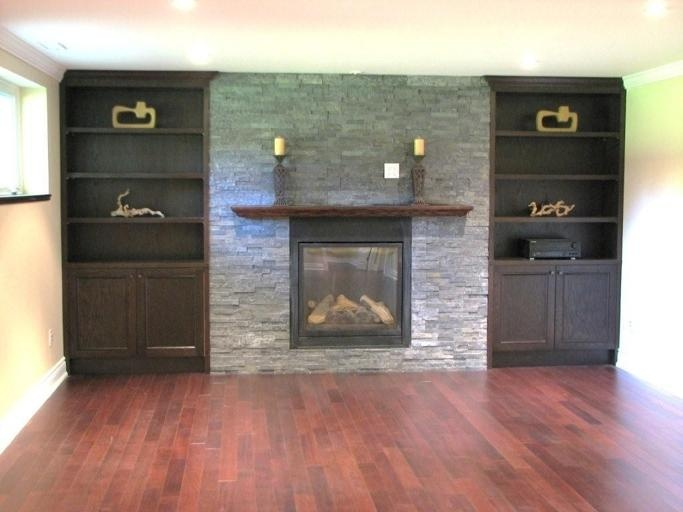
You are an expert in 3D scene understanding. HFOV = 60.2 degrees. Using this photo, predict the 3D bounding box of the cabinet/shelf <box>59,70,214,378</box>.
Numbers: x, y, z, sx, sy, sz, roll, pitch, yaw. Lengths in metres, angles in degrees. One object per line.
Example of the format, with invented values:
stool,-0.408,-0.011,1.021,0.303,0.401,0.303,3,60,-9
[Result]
cabinet/shelf,-1.806,-0.284,5.252,1.319,2.622,0.424,-1,6,-4

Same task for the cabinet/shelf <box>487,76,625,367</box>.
cabinet/shelf,1.939,-0.257,5.509,1.321,2.536,0.437,-1,5,-2
